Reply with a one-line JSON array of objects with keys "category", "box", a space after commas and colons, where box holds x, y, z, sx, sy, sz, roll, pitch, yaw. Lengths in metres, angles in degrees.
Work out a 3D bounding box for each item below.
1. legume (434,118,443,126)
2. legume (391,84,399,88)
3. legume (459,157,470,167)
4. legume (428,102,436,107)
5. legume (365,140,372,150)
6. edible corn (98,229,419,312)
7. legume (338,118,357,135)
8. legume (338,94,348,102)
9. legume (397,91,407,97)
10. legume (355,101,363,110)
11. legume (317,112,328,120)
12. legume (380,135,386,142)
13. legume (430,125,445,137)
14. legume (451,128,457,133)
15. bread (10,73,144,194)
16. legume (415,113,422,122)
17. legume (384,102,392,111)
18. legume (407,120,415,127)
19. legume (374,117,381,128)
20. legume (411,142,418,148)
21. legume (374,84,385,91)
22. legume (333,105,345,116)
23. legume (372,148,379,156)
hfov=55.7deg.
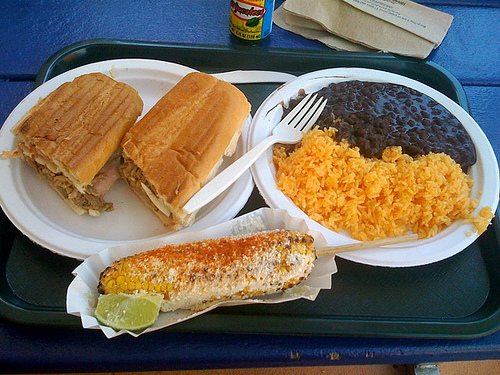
[{"category": "legume", "box": [1.080, -0.380, 2.708, 0.042, 0.010, 0.028, -7, 80, -7]}, {"category": "legume", "box": [0.874, -0.612, 2.839, 0.014, 0.004, 0.035, -30, 48, -18]}, {"category": "legume", "box": [1.201, -0.147, 2.640, 0.049, 0.012, 0.050, -36, 90, -1]}, {"category": "legume", "box": [1.070, -0.493, 2.783, 0.033, 0.008, 0.025, -17, 66, -15]}, {"category": "legume", "box": [0.662, -0.242, 2.636, 0.040, 0.012, 0.043, -3, 75, -21]}, {"category": "edible corn", "box": [-0.090, 0.393, 2.311, 1.300, 0.149, 0.328, -7, 69, -9]}, {"category": "legume", "box": [0.556, -0.348, 2.686, 0.084, 0.024, 0.090, 1, 85, 11]}, {"category": "legume", "box": [0.548, -0.532, 2.784, 0.046, 0.013, 0.048, -9, 65, 4]}, {"category": "legume", "box": [0.886, -0.560, 2.792, 0.032, 0.013, 0.047, 17, 48, 36]}, {"category": "legume", "box": [0.628, -0.477, 2.737, 0.033, 0.012, 0.046, 4, 60, 20]}, {"category": "legume", "box": [0.425, -0.421, 2.772, 0.053, 0.014, 0.029, -43, 53, 26]}, {"category": "legume", "box": [0.744, -0.278, 2.651, 0.030, 0.008, 0.029, -4, 78, -13]}, {"category": "legume", "box": [1.062, -0.322, 2.684, 0.016, 0.020, 0.074, -41, 81, -7]}, {"category": "legume", "box": [1.173, -0.334, 2.712, 0.023, 0.032, 0.024, 43, 82, 11]}, {"category": "bread", "box": [-0.880, -0.366, 2.829, 0.790, 0.571, 0.687, 16, 42, 13]}, {"category": "legume", "box": [0.967, -0.409, 2.717, 0.015, 0.020, 0.073, 7, 53, -16]}, {"category": "legume", "box": [0.795, -0.469, 2.719, 0.028, 0.011, 0.048, -22, 62, -4]}, {"category": "legume", "box": [0.917, -0.370, 2.694, 0.028, 0.009, 0.038, -27, 68, -32]}, {"category": "legume", "box": [0.719, -0.372, 2.667, 0.043, 0.014, 0.031, -52, 41, 3]}, {"category": "legume", "box": [0.921, -0.243, 2.644, 0.029, 0.007, 0.020, -23, 46, -21]}, {"category": "legume", "box": [0.772, -0.602, 2.813, 0.036, 0.011, 0.038, 2, 57, 6]}, {"category": "legume", "box": [0.514, -0.452, 2.739, 0.054, 0.018, 0.057, 3, 59, 15]}, {"category": "legume", "box": [0.701, -0.207, 2.639, 0.029, 0.007, 0.030, -18, 95, -10]}]
